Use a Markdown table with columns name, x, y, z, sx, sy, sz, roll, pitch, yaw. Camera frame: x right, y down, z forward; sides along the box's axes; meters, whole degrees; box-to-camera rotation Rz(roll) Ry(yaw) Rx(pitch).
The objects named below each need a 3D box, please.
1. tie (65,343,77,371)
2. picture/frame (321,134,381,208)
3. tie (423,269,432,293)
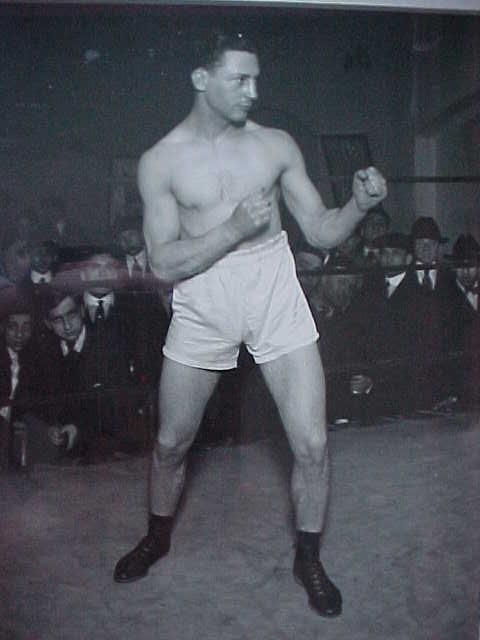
| name | x | y | z | sx | sy | sz | roll | pitch | yaw |
| --- | --- | --- | --- | --- | --- | --- | --- | --- | --- |
| tie | -0.416 | 0.092 | 1.650 | 0.041 | 0.065 | 0.021 | 1 | 27 | -1 |
| picture/frame | 0.274 | -0.399 | 1.675 | 0.124 | 0.152 | 0.038 | -5 | 21 | -4 |
| tie | 0.676 | -0.142 | 2.408 | 0.038 | 0.076 | 0.017 | -7 | 17 | -11 |
